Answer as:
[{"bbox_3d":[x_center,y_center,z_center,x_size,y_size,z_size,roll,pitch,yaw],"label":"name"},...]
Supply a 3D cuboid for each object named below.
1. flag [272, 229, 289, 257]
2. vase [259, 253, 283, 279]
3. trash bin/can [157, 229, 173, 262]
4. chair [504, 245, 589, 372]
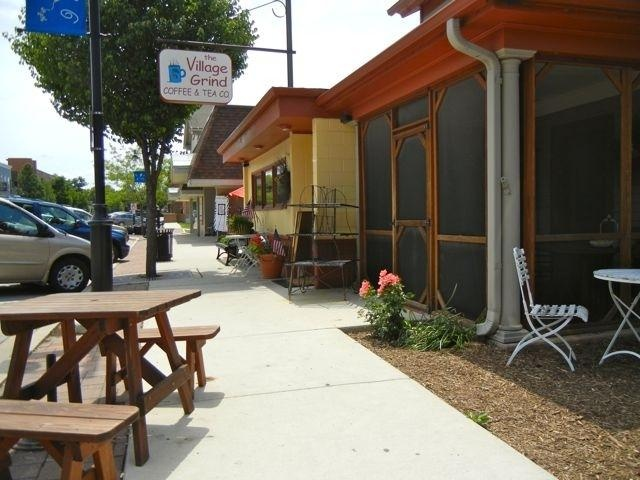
[{"bbox_3d":[-0.853,0.100,11.142,0.604,0.697,0.046,1,-1,-44],"label":"flag"},{"bbox_3d":[-1.092,0.591,11.297,0.501,0.412,0.503,3,-6,-28],"label":"vase"},{"bbox_3d":[-4.787,0.195,15.799,0.450,0.943,1.028,-3,7,-18],"label":"trash bin/can"},{"bbox_3d":[2.293,0.671,5.168,0.766,1.122,0.747,1,-1,23],"label":"chair"}]
